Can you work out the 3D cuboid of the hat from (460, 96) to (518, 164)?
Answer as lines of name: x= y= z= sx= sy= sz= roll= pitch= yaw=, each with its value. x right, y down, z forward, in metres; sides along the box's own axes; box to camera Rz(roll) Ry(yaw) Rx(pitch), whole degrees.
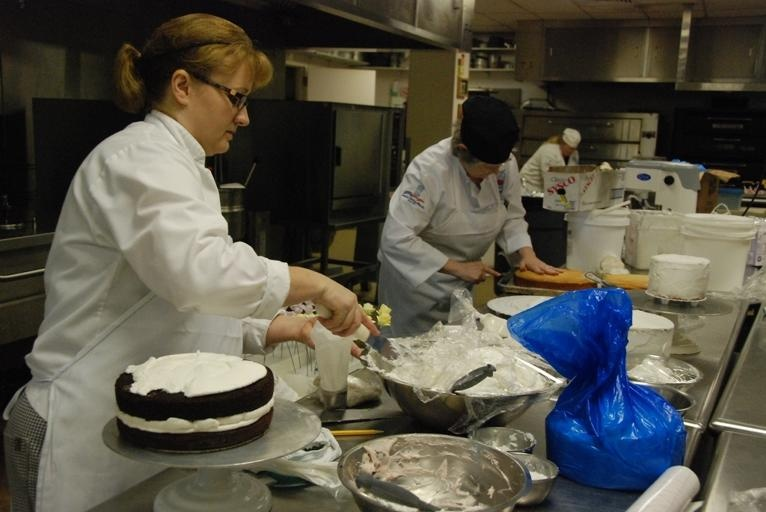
hat: x=0.513 y=-0.611 z=2.805 sx=0.275 sy=0.328 sz=0.226 roll=0 pitch=10 yaw=-1

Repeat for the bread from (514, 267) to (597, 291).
bread: x=0.817 y=0.113 z=2.782 sx=0.370 sy=0.061 sz=0.238 roll=3 pitch=10 yaw=13

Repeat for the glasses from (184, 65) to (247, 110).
glasses: x=-0.423 y=-0.431 z=1.491 sx=0.097 sy=0.029 sz=0.093 roll=36 pitch=4 yaw=-5

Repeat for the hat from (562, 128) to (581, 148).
hat: x=2.259 y=-1.436 z=7.029 sx=0.205 sy=0.206 sz=0.265 roll=-4 pitch=9 yaw=-11

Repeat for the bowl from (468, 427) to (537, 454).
bowl: x=0.292 y=0.446 z=1.406 sx=0.090 sy=0.036 sz=0.089 roll=2 pitch=3 yaw=0

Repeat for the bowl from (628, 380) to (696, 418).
bowl: x=0.789 y=0.403 z=1.586 sx=0.124 sy=0.085 sz=0.104 roll=-1 pitch=10 yaw=-10

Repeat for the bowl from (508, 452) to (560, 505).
bowl: x=0.335 y=0.489 z=1.277 sx=0.118 sy=0.053 sz=0.116 roll=-1 pitch=-1 yaw=0

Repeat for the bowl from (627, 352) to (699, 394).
bowl: x=0.817 y=0.340 z=1.694 sx=0.164 sy=0.040 sz=0.162 roll=1 pitch=5 yaw=0

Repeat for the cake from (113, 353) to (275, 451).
cake: x=-0.391 y=0.303 z=1.198 sx=0.317 sy=0.146 sz=0.157 roll=0 pitch=10 yaw=-7

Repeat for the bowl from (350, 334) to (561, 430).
bowl: x=0.184 y=0.351 z=1.486 sx=0.540 sy=0.187 sz=0.206 roll=2 pitch=10 yaw=6

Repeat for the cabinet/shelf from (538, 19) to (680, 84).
cabinet/shelf: x=3.281 y=-3.020 z=8.690 sx=1.924 sy=0.778 sz=0.421 roll=0 pitch=10 yaw=1

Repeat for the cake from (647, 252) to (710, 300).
cake: x=1.101 y=0.066 z=2.165 sx=0.181 sy=0.132 sz=0.177 roll=0 pitch=4 yaw=-40
